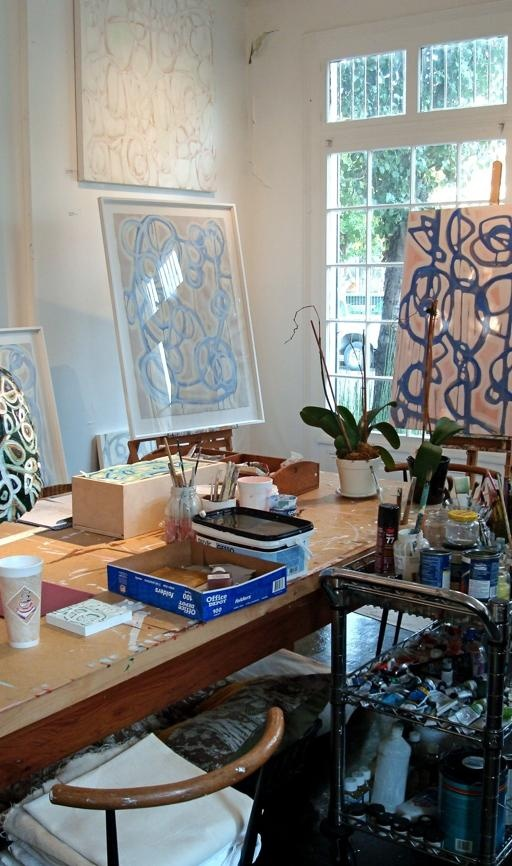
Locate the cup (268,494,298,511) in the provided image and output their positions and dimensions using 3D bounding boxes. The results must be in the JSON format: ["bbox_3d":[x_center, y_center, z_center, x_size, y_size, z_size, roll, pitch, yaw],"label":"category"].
[{"bbox_3d":[0.077,0.196,1.647,0.047,0.033,0.048,0,10,0],"label":"cup"}]

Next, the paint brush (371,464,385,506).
[{"bbox_3d":[0.406,0.176,1.969,0.031,0.162,0.027,6,47,27],"label":"paint brush"}]

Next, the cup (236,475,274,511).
[{"bbox_3d":[-0.001,0.156,1.566,0.077,0.097,0.083,1,13,0],"label":"cup"}]

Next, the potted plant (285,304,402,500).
[{"bbox_3d":[0.303,-0.112,2.111,0.378,0.701,0.291,1,1,12],"label":"potted plant"}]

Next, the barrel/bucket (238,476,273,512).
[{"bbox_3d":[0.002,0.156,1.560,0.077,0.097,0.082,2,13,0],"label":"barrel/bucket"}]

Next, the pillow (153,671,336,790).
[{"bbox_3d":[-0.037,0.756,1.547,0.386,0.134,0.461,-10,3,-37],"label":"pillow"}]

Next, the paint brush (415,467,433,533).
[{"bbox_3d":[0.441,0.172,1.545,0.015,0.162,0.010,9,13,8],"label":"paint brush"}]

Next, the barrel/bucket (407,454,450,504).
[{"bbox_3d":[0.557,0.132,1.875,0.134,0.165,0.148,2,8,0],"label":"barrel/bucket"}]
